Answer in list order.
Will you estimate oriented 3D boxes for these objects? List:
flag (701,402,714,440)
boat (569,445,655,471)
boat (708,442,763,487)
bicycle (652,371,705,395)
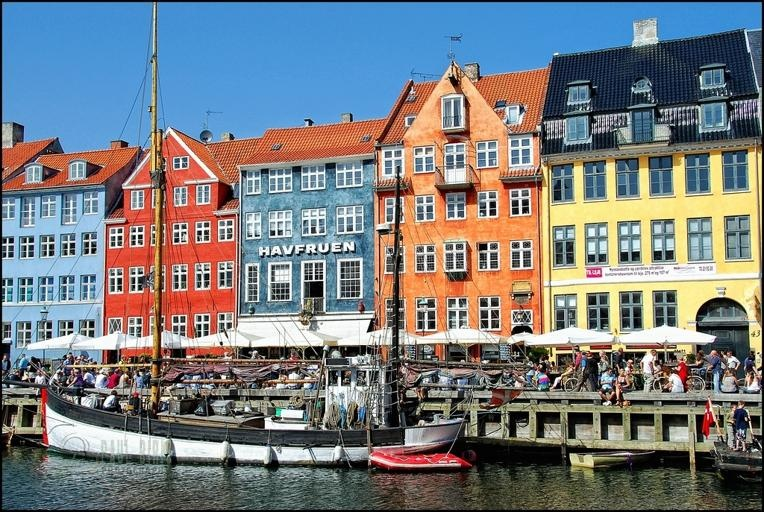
[{"bbox_3d":[15.995,7.939,65.648,0.640,1.885,1.471,-4,-8,12],"label":"flag"},{"bbox_3d":[11.351,10.034,66.331,3.978,0.830,1.082,-3,-8,5],"label":"boat"},{"bbox_3d":[16.750,9.727,62.878,2.225,1.762,1.116,-5,-8,19],"label":"boat"},{"bbox_3d":[15.176,6.375,68.212,2.150,1.068,1.075,1,-16,5],"label":"bicycle"}]
